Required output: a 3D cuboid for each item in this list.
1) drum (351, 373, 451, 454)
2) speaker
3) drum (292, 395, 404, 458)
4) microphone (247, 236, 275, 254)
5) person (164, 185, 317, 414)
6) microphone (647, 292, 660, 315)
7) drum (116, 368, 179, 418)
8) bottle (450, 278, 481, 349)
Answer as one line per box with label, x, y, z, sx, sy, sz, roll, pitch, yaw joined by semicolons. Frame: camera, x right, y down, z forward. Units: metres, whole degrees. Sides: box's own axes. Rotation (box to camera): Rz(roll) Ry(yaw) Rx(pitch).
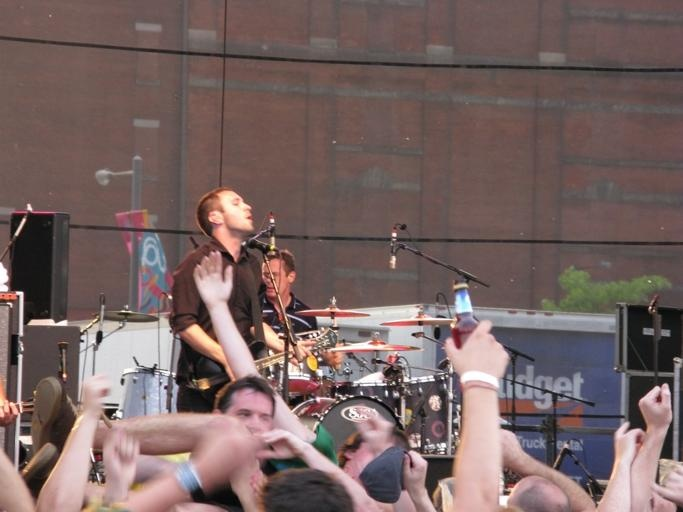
drum;0.602;1.567;19.238;0.763;0.788;0.842;2;-3;-44
speaker;-2.988;0.122;19.206;0.457;1.096;0.491;-1;5;-16
drum;0.089;1.573;18.028;0.921;0.489;0.921;3;-1;0
microphone;-0.740;-0.059;17.605;0.241;0.088;0.134;18;9;21
person;-1.007;0.373;17.676;1.132;2.058;1.004;1;0;-34
microphone;3.252;0.522;20.124;0.050;0.103;0.280;-17;25;38
drum;-1.963;1.390;19.963;0.631;0.524;0.595;3;-10;-17
bottle;0.998;0.485;15.573;0.205;0.521;0.403;-1;-4;3
